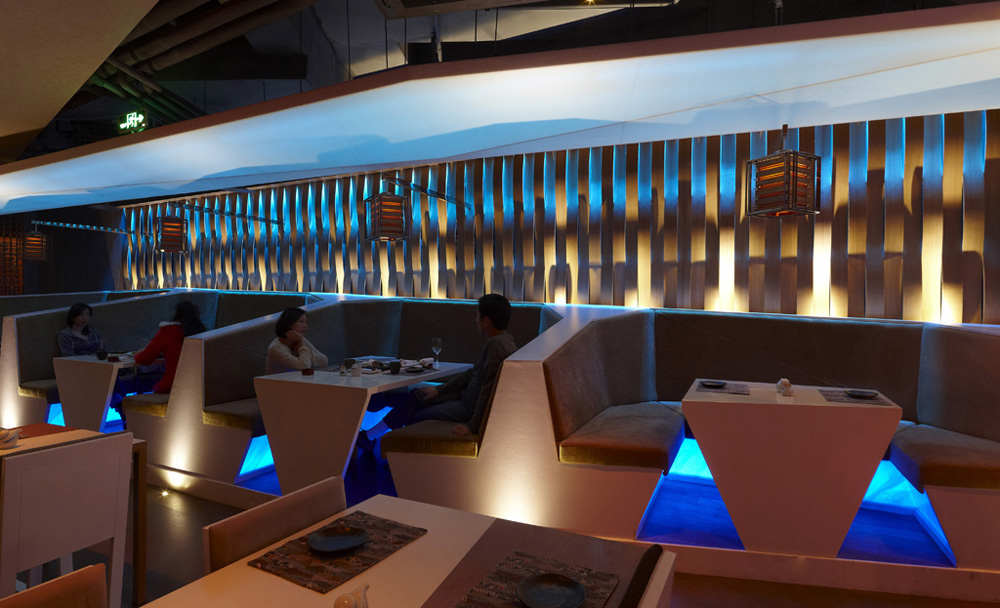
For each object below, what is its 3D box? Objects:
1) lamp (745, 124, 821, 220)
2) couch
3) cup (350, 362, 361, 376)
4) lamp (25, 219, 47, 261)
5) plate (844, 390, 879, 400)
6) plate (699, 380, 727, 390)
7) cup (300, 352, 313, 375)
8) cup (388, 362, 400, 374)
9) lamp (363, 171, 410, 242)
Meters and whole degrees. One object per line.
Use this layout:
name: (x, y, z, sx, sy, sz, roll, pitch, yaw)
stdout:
lamp: (2.357, -1.127, 6.682, 0.395, 0.631, 0.477, 7, -6, -29)
couch: (1.285, 1.182, 6.709, 5.532, 2.187, 1.865, -2, 2, 17)
cup: (-1.254, 0.570, 6.870, 0.081, 0.081, 0.080, -1, -10, 0)
lamp: (-6.533, -0.923, 11.167, 0.266, 0.431, 0.816, -3, 2, -30)
plate: (2.795, 0.695, 6.153, 0.239, 0.054, 0.206, -2, 2, 8)
plate: (1.733, 0.648, 6.448, 0.208, 0.041, 0.203, -2, 2, 15)
cup: (-1.700, 0.540, 7.122, 0.152, 0.182, 0.156, -2, -5, 0)
cup: (-0.912, 0.552, 6.869, 0.089, 0.099, 0.087, -1, -4, 0)
lamp: (-1.040, -0.926, 7.887, 0.428, 0.570, 0.432, -3, 7, -43)
